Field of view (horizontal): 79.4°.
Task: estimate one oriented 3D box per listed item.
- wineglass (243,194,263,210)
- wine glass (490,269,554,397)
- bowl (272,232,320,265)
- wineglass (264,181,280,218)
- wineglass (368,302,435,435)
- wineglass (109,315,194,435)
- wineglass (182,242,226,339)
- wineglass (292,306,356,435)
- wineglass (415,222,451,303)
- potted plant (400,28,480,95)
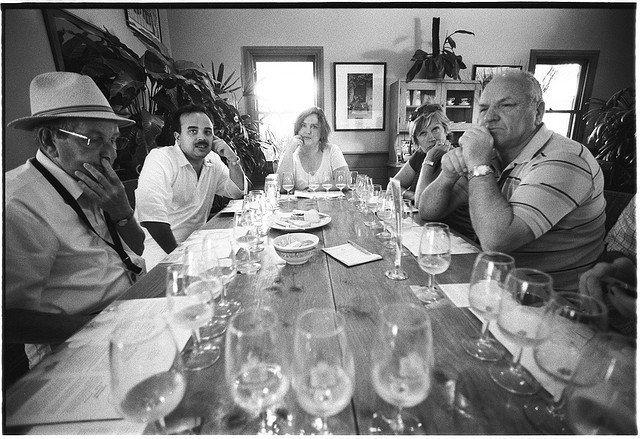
[{"bbox_3d":[-0.318,-0.087,1.849,0.076,0.072,0.073,-4,7,-39],"label":"wineglass"},{"bbox_3d":[0.571,0.317,1.095,0.138,0.334,0.130,7,18,21],"label":"wine glass"},{"bbox_3d":[-0.105,0.134,1.533,0.177,0.081,0.177,0,8,0],"label":"bowl"},{"bbox_3d":[-0.292,-0.131,2.400,0.111,0.224,0.109,-4,5,-11],"label":"wineglass"},{"bbox_3d":[0.212,0.356,0.979,0.172,0.282,0.241,5,22,12],"label":"wineglass"},{"bbox_3d":[-0.419,0.389,0.946,0.186,0.258,0.214,-12,25,-29],"label":"wineglass"},{"bbox_3d":[-0.387,0.187,1.262,0.122,0.269,0.108,-12,27,-23],"label":"wineglass"},{"bbox_3d":[0.004,0.341,0.936,0.145,0.216,0.152,-1,22,-4],"label":"wineglass"},{"bbox_3d":[0.384,0.134,1.313,0.098,0.223,0.224,7,22,15],"label":"wineglass"},{"bbox_3d":[1.480,-1.919,4.846,0.823,0.689,0.986,5,11,32],"label":"potted plant"}]
